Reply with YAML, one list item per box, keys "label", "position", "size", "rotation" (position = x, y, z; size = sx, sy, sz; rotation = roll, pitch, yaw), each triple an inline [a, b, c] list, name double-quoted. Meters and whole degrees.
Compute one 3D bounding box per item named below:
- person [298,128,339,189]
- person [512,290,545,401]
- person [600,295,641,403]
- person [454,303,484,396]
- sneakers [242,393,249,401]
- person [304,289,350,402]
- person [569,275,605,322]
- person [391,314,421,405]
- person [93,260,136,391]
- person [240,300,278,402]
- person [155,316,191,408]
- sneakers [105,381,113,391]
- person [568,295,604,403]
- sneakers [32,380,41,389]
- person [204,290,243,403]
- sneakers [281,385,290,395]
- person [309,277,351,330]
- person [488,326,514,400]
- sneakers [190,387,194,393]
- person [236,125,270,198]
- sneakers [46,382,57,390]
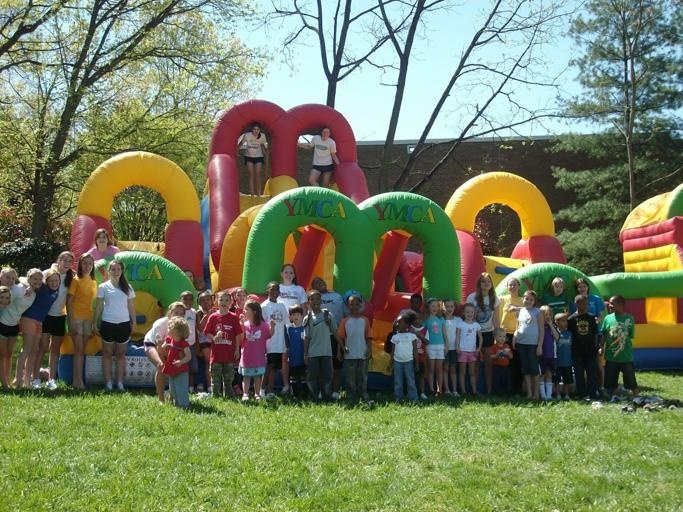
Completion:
- label: "person"
  position: [-0.445, -1.853, 19.008]
  size: [0.943, 1.759, 0.505]
  rotation: [2, 20, -3]
- label: "person"
  position: [3.137, 1.472, 14.941]
  size: [0.412, 1.678, 0.715]
  rotation: [-2, 11, -17]
- label: "person"
  position: [4.583, 1.540, 14.934]
  size: [0.567, 1.853, 0.436]
  rotation: [3, 19, 30]
- label: "person"
  position: [2.133, 1.541, 15.132]
  size: [0.391, 1.471, 0.513]
  rotation: [10, 13, 38]
- label: "sneakers"
  position: [-1.482, 2.183, 14.134]
  size: [0.062, 0.120, 0.110]
  rotation: [1, -11, -8]
- label: "person"
  position: [-0.358, 1.435, 14.471]
  size: [0.554, 1.649, 0.519]
  rotation: [4, 10, 13]
- label: "person"
  position: [4.306, 0.870, 15.719]
  size: [0.572, 0.953, 0.322]
  rotation: [-15, -8, 35]
- label: "person"
  position: [1.059, 1.631, 14.658]
  size: [0.482, 1.349, 0.790]
  rotation: [1, 10, -2]
- label: "person"
  position: [-3.593, 1.096, 14.468]
  size: [0.614, 2.028, 0.401]
  rotation: [-2, 11, -18]
- label: "person"
  position: [-1.324, 1.497, 14.277]
  size: [0.569, 1.531, 0.657]
  rotation: [-2, 11, -21]
- label: "person"
  position: [-2.443, 1.553, 13.377]
  size: [0.419, 1.250, 0.351]
  rotation: [0, 10, -7]
- label: "sneakers"
  position: [-3.710, 2.065, 14.517]
  size: [0.087, 0.154, 0.141]
  rotation: [8, -15, -38]
- label: "person"
  position: [4.012, 1.501, 14.971]
  size: [0.591, 1.600, 0.535]
  rotation: [5, 11, 16]
- label: "sneakers"
  position: [-4.774, 2.001, 14.255]
  size: [0.102, 0.179, 0.164]
  rotation: [3, -18, -18]
- label: "person"
  position: [-1.817, 1.374, 14.241]
  size: [0.521, 1.598, 0.486]
  rotation: [10, 13, 39]
- label: "sneakers"
  position: [-0.913, 2.199, 14.957]
  size: [0.133, 0.157, 0.055]
  rotation: [1, -1, -6]
- label: "person"
  position: [-0.164, 0.739, 15.309]
  size: [0.529, 0.767, 0.495]
  rotation: [-6, -27, -37]
- label: "person"
  position: [2.703, 1.809, 15.264]
  size: [0.372, 1.167, 0.376]
  rotation: [1, 11, 13]
- label: "sneakers"
  position: [-2.415, 2.148, 14.706]
  size: [0.068, 0.125, 0.071]
  rotation: [4, -12, -21]
- label: "person"
  position: [-1.904, -2.086, 19.697]
  size: [0.621, 1.630, 2.093]
  rotation: [1, 11, -6]
- label: "sneakers"
  position: [-4.584, 2.041, 14.372]
  size: [0.122, 0.145, 0.161]
  rotation: [-1, -20, -10]
